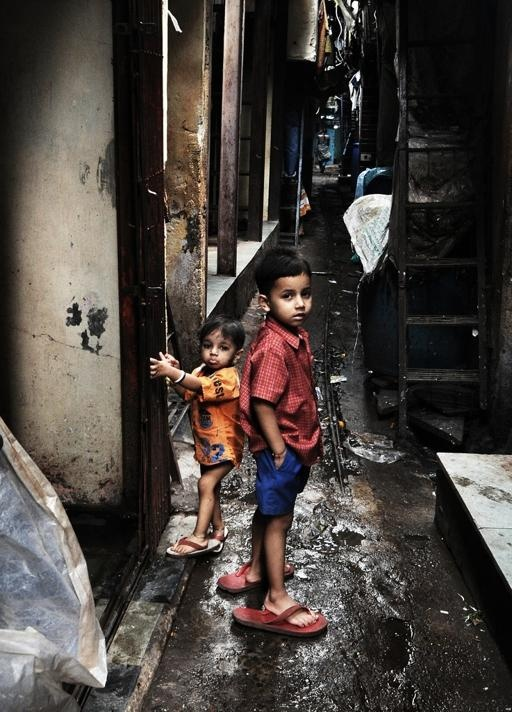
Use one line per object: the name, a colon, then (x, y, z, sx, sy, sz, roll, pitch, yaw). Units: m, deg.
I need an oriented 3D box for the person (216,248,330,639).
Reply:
person: (0.117, 0.317, 2.023, 0.377, 1.384, 0.276, 3, 9, -4)

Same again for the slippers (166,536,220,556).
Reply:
slippers: (-0.261, 0.825, 2.437, 0.194, 0.056, 0.089, 1, 2, -25)

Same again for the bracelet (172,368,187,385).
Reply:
bracelet: (-0.311, 0.092, 2.267, 0.051, 0.071, 0.118, 3, 9, -9)
